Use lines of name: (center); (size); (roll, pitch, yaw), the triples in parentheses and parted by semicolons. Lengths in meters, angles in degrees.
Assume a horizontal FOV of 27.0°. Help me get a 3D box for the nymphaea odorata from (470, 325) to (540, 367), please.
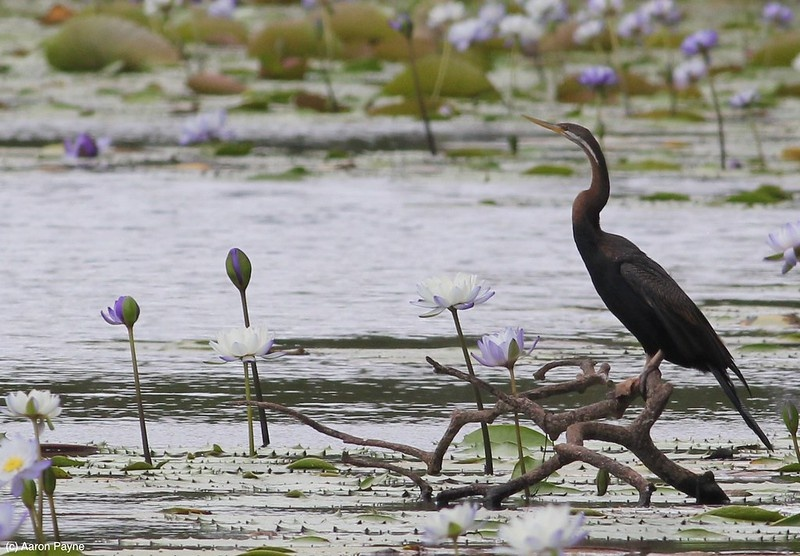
nymphaea odorata: (0.515, 0.381, 8.919); (0.302, 0.231, 0.320); (-4, 15, -6)

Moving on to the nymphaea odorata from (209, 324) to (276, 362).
nymphaea odorata: (-0.919, 0.347, 9.293); (0.299, 0.206, 0.373); (-5, 14, -21)

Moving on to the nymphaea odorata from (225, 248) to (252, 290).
nymphaea odorata: (-0.921, -0.053, 9.559); (0.113, 0.301, 0.063); (-17, -5, 26)

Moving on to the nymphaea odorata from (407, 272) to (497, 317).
nymphaea odorata: (0.292, 0.084, 8.986); (0.323, 0.137, 0.296); (-9, 11, -15)

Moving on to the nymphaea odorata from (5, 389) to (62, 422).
nymphaea odorata: (-1.940, 0.667, 8.747); (0.255, 0.100, 0.223); (-1, 0, 14)
